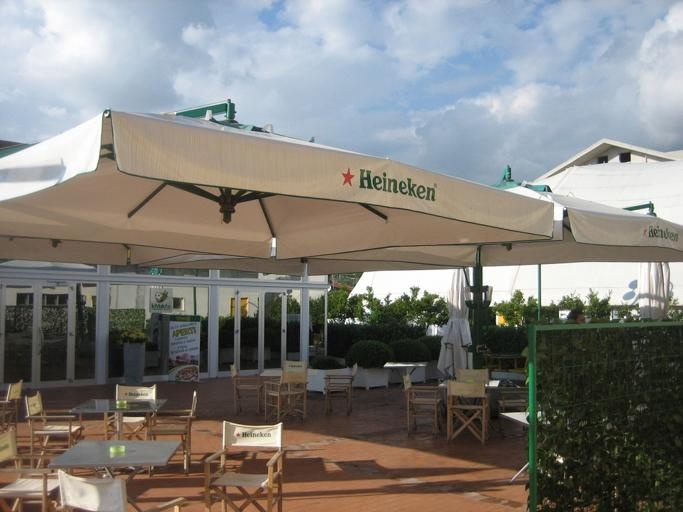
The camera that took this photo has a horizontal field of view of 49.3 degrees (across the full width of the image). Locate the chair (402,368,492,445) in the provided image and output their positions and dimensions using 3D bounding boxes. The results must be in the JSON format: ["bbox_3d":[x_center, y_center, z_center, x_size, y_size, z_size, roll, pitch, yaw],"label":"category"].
[{"bbox_3d":[2.098,2.804,13.783,1.332,0.747,1.369,0,-2,13],"label":"chair"}]
